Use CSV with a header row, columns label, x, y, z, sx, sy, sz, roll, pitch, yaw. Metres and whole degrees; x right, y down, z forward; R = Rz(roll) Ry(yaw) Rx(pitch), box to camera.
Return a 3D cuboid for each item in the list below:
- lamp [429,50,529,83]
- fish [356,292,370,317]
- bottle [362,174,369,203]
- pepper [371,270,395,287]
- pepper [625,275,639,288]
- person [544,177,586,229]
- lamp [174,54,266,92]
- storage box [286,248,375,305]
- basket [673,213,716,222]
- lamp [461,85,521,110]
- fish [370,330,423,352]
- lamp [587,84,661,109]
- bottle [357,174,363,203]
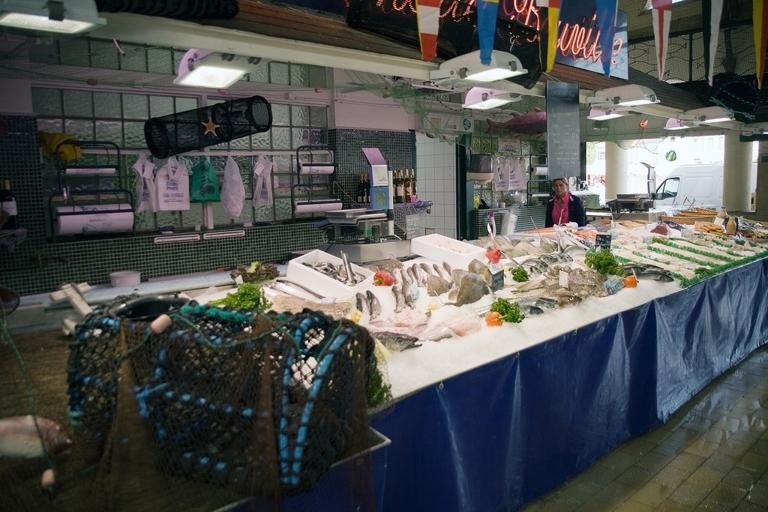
label,x,y,z,sx,sy,sz,roll,pitch,yaw
lamp,0.850,-1.668,4.244,0.771,0.227,0.463,-7,9,-25
fish,-0.154,0.353,3.521,0.103,0.036,0.151,-10,39,-23
bottle,-0.285,-1.039,7.374,0.093,0.442,0.203,-4,10,-3
pepper,-0.008,0.181,4.064,0.121,0.085,0.149,-3,4,33
pepper,2.208,0.217,4.353,0.110,0.108,0.127,2,15,13
person,2.630,-0.799,7.057,0.581,0.685,0.556,4,12,38
lamp,-1.352,-1.584,3.926,0.396,0.257,0.916,-10,11,-39
storage box,-0.478,0.151,3.959,0.587,0.192,0.427,22,29,28
basket,5.171,-0.644,8.137,0.501,0.109,0.369,-6,9,-28
lamp,1.346,-2.030,6.042,0.485,0.231,0.988,-4,8,-6
fish,0.084,0.508,3.006,0.348,0.115,0.109,12,-6,9
lamp,3.070,-2.057,6.254,0.459,0.163,0.558,2,-1,-38
bottle,-0.369,-1.042,7.487,0.101,0.400,0.276,-6,10,-14
